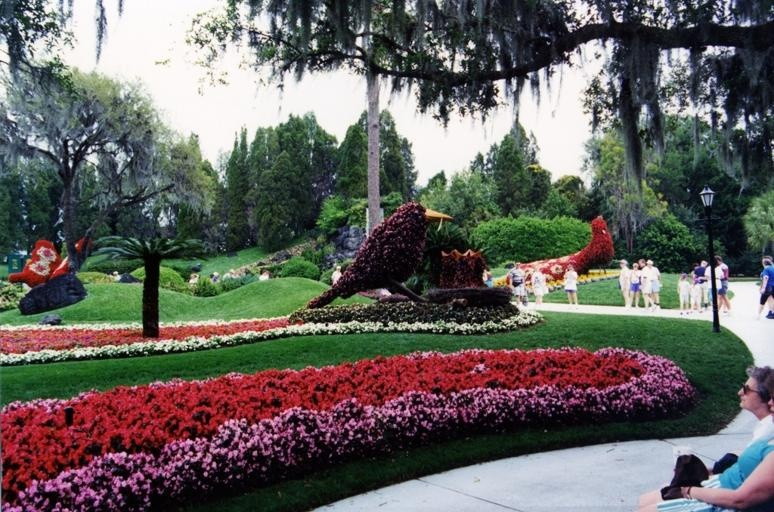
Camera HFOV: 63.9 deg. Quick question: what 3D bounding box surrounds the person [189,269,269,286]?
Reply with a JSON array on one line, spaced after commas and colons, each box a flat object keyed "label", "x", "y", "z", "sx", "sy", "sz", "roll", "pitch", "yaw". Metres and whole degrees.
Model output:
[{"label": "person", "x": -9.158, "y": 1.196, "z": 36.024, "sx": 3.034, "sy": 0.592, "sz": 0.507, "roll": -6, "pitch": -2, "yaw": 11}]

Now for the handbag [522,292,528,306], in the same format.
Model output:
[{"label": "handbag", "x": 4.998, "y": 1.502, "z": 22.627, "sx": 0.193, "sy": 0.569, "sz": 0.382, "roll": 7, "pitch": 16, "yaw": 28}]
